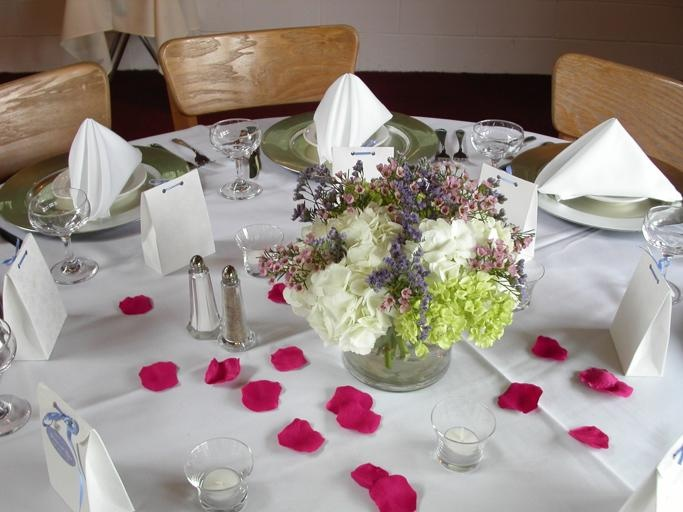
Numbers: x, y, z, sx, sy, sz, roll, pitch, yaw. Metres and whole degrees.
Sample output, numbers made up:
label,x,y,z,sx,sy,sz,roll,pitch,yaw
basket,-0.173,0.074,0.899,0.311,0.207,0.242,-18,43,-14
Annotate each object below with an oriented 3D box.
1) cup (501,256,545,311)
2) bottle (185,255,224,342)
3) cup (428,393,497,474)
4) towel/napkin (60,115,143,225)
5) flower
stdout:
label,x,y,z,sx,sy,sz,roll,pitch,yaw
cup,0.349,0.057,0.981,0.065,0.062,0.075,-19,37,-24
bottle,-0.295,0.092,1.082,0.079,0.172,0.078,-1,12,0
cup,0.205,0.326,0.871,0.076,0.064,0.078,-4,7,0
towel/napkin,-0.634,-0.243,1.302,0.118,0.196,0.107,41,49,23
flower,0.111,0.042,0.933,0.340,0.364,0.399,4,9,22
